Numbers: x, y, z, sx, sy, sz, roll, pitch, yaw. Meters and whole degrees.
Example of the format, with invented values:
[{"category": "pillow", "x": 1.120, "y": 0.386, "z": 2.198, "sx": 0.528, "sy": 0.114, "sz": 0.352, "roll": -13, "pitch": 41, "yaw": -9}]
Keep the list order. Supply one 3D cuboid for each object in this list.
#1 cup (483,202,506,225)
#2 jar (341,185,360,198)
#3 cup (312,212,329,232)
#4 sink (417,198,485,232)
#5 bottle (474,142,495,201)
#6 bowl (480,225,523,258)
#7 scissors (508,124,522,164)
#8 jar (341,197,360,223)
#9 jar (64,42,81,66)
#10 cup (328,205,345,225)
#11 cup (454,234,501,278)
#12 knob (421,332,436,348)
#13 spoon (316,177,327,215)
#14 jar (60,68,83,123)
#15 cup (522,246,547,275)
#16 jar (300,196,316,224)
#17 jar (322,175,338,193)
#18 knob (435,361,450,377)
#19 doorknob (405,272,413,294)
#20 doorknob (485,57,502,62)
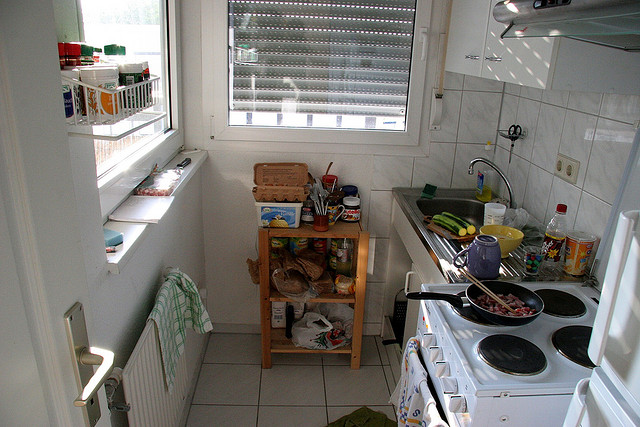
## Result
[{"category": "cup", "x": 0.950, "y": -0.016, "z": 2.348, "sx": 0.113, "sy": 0.122, "sz": 0.113, "roll": -2, "pitch": 34, "yaw": 1}, {"category": "jar", "x": 0.201, "y": -0.140, "z": 2.865, "sx": 0.103, "sy": 0.075, "sz": 0.067, "roll": -2, "pitch": 21, "yaw": -1}, {"category": "cup", "x": 0.006, "y": 0.063, "z": 2.668, "sx": 0.106, "sy": 0.100, "sz": 0.102, "roll": -1, "pitch": 29, "yaw": 1}, {"category": "sink", "x": 0.872, "y": -0.009, "z": 2.799, "sx": 0.307, "sy": 0.115, "sz": 0.241, "roll": -3, "pitch": 24, "yaw": -7}, {"category": "bottle", "x": 1.105, "y": -0.276, "z": 2.835, "sx": 0.109, "sy": 0.329, "sz": 0.335, "roll": 6, "pitch": 22, "yaw": 19}, {"category": "bowl", "x": 0.947, "y": 0.115, "z": 2.212, "sx": 0.181, "sy": 0.097, "sz": 0.179, "roll": -1, "pitch": 31, "yaw": 1}, {"category": "scissors", "x": 1.210, "y": -0.444, "z": 2.657, "sx": 0.081, "sy": 0.203, "sz": 0.022, "roll": 12, "pitch": 23, "yaw": 31}, {"category": "jar", "x": 0.197, "y": -0.020, "z": 2.786, "sx": 0.134, "sy": 0.140, "sz": 0.133, "roll": 2, "pitch": 13, "yaw": 0}, {"category": "jar", "x": -0.745, "y": -0.476, "z": 1.281, "sx": 0.031, "sy": 0.064, "sz": 0.070, "roll": 6, "pitch": 22, "yaw": 20}, {"category": "cup", "x": 0.090, "y": 0.009, "z": 2.723, "sx": 0.134, "sy": 0.132, "sz": 0.078, "roll": -5, "pitch": 27, "yaw": -16}, {"category": "cup", "x": 0.746, "y": 0.195, "z": 2.011, "sx": 0.199, "sy": 0.167, "sz": 0.157, "roll": 7, "pitch": 22, "yaw": 22}, {"category": "knob", "x": 0.467, "y": 0.543, "z": 1.820, "sx": 0.054, "sy": 0.058, "sz": 0.076, "roll": 10, "pitch": 67, "yaw": 14}, {"category": "spoon", "x": -0.004, "y": -0.120, "z": 2.753, "sx": 0.047, "sy": 0.036, "sz": 0.231, "roll": 14, "pitch": 50, "yaw": -43}, {"category": "jar", "x": -0.725, "y": -0.345, "z": 1.245, "sx": 0.049, "sy": 0.147, "sz": 0.098, "roll": -10, "pitch": 22, "yaw": -19}, {"category": "cup", "x": 1.022, "y": 0.221, "z": 2.031, "sx": 0.119, "sy": 0.131, "sz": 0.119, "roll": 2, "pitch": 5, "yaw": 0}, {"category": "jar", "x": -0.077, "y": -0.020, "z": 2.718, "sx": 0.095, "sy": 0.161, "sz": 0.081, "roll": 3, "pitch": 21, "yaw": 13}, {"category": "jar", "x": 0.071, "y": -0.203, "z": 2.897, "sx": 0.111, "sy": 0.117, "sz": 0.110, "roll": 1, "pitch": 25, "yaw": 0}, {"category": "knob", "x": 0.486, "y": 0.613, "z": 1.674, "sx": 0.043, "sy": 0.059, "sz": 0.020, "roll": 5, "pitch": 1, "yaw": 8}, {"category": "doorknob", "x": 0.547, "y": 0.416, "z": 2.610, "sx": 0.035, "sy": 0.173, "sz": 0.114, "roll": 2, "pitch": 21, "yaw": 10}, {"category": "doorknob", "x": 0.852, "y": -0.753, "z": 2.087, "sx": 0.022, "sy": 0.019, "sz": 0.073, "roll": -18, "pitch": 27, "yaw": -33}]
